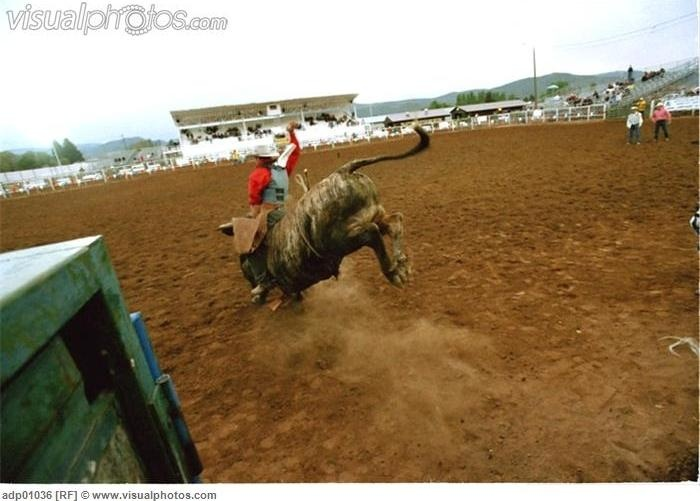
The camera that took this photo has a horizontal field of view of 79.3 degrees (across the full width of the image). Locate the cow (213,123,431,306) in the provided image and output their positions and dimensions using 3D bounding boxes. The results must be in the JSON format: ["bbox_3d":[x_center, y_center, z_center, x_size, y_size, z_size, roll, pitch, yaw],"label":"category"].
[{"bbox_3d":[-0.368,-0.109,4.901,3.043,1.444,0.870,-12,1,37],"label":"cow"}]
